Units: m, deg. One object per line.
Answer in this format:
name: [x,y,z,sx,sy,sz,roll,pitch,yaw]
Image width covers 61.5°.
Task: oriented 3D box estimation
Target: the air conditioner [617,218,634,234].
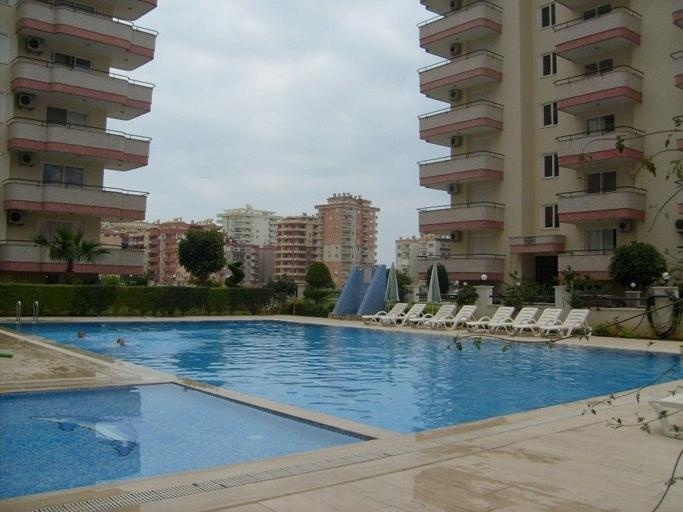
air conditioner: [14.414,-1.540,29.203,0.719,0.718,0.564,1,-1,44]
